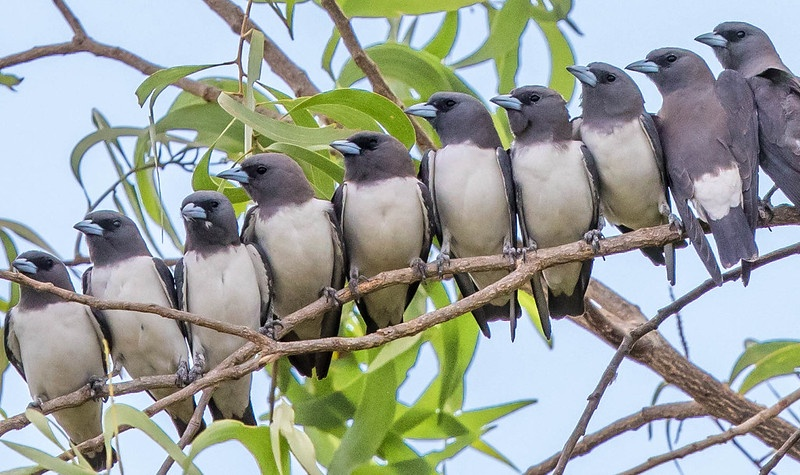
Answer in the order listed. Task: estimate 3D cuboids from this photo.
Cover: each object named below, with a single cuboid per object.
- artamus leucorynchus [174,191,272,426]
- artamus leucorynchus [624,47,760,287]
[{"bbox_3d":[-1.249,0.474,7.432,0.662,1.001,1.751,-5,-52,1],"label":"artamus leucorynchus"},{"bbox_3d":[2.098,-0.513,7.447,0.666,1.533,1.040,-16,-34,31],"label":"artamus leucorynchus"}]
